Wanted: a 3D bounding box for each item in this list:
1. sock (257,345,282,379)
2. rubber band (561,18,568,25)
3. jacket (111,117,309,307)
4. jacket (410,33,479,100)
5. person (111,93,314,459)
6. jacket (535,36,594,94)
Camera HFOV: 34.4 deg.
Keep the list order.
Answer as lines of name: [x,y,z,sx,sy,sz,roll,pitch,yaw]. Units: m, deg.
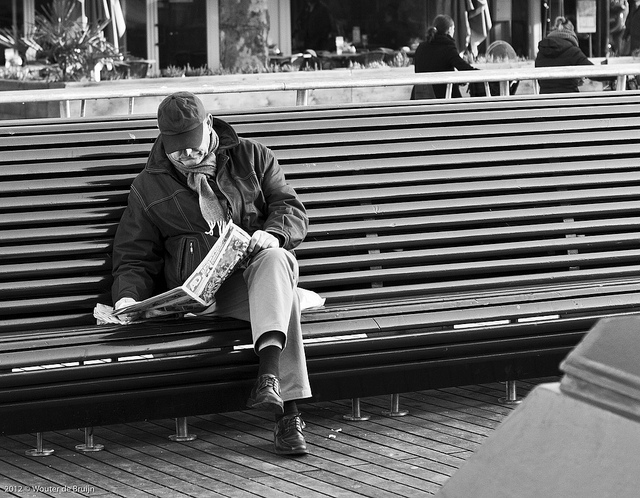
sock: [-0.200,0.450,4.107,0.054,0.048,0.134,-19,23,10]
rubber band: [2.283,-2.018,9.174,0.047,0.033,0.154,22,10,20]
jacket: [-0.502,-0.131,4.559,1.003,0.720,0.610,-15,20,-20]
jacket: [1.148,-1.631,9.252,0.544,0.591,1.003,0,12,5]
person: [-0.400,0.065,4.466,1.016,1.440,0.842,6,14,30]
jacket: [2.107,-1.517,8.549,0.454,0.475,0.976,1,12,12]
